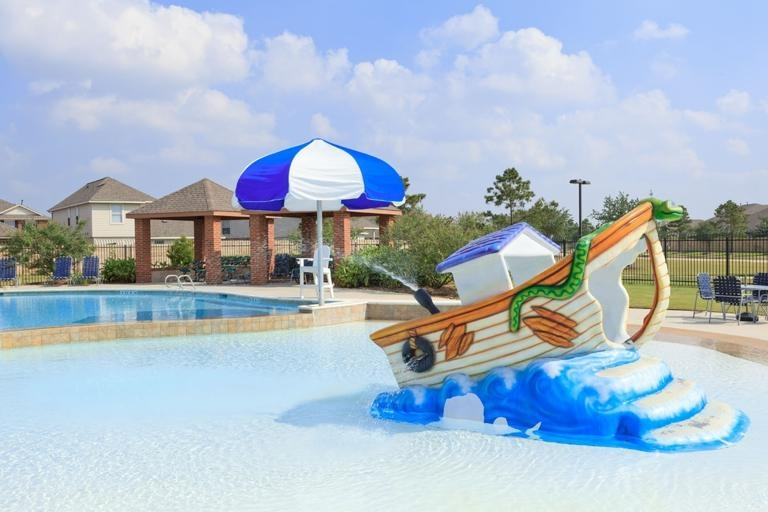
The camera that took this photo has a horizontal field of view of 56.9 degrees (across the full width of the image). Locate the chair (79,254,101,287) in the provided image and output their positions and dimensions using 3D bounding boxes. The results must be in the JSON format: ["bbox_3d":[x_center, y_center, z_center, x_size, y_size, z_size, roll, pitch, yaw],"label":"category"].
[{"bbox_3d":[-11.390,0.513,27.749,1.004,1.752,0.995,2,-3,-23],"label":"chair"}]

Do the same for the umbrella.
[{"bbox_3d":[-1.384,-0.843,15.728,3.710,3.519,3.992,1,4,9],"label":"umbrella"}]
